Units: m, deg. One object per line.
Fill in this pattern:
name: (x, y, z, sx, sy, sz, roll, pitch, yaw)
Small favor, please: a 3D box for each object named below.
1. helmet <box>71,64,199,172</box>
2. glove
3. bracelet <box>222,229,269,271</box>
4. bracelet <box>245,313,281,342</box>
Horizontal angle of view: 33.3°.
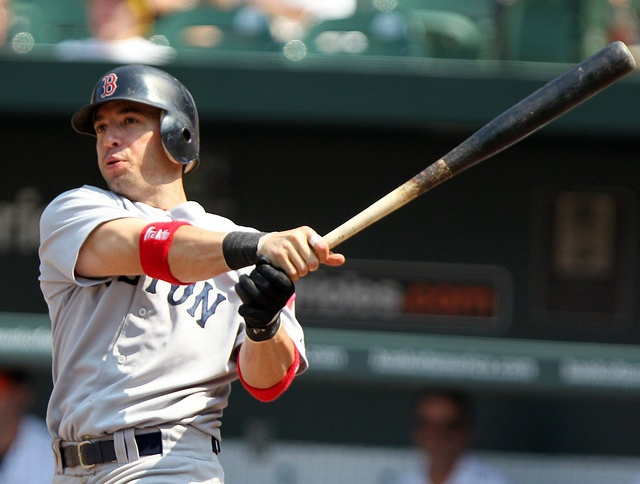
helmet: (-0.827, -0.584, 5.156, 0.595, 0.424, 0.448, 13, -26, -34)
glove: (-0.244, 0.248, 4.557, 0.243, 0.383, 0.269, 0, 4, -8)
bracelet: (-0.324, 0.045, 4.500, 0.179, 0.143, 0.140, 13, -24, -22)
bracelet: (-0.259, 0.373, 4.673, 0.121, 0.088, 0.145, -1, 16, 7)
